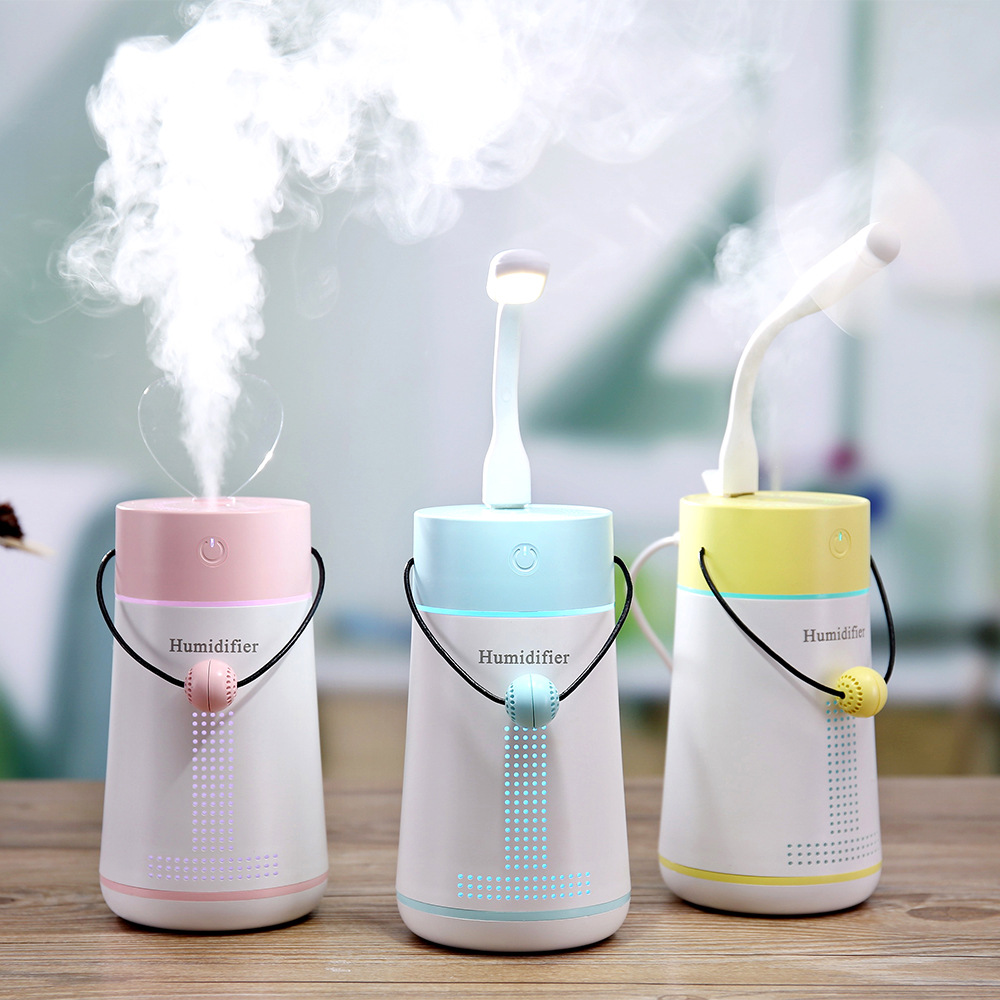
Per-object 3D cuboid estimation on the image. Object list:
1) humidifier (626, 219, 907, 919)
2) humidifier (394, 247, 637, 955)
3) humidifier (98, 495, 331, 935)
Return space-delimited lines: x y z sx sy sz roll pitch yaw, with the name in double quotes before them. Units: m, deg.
"humidifier" 0.192 0.045 1.161 0.199 0.486 0.188 2 9 14
"humidifier" 0.012 0.080 1.110 0.164 0.430 0.206 0 9 2
"humidifier" -0.205 0.147 1.123 0.149 0.301 0.158 7 11 24
